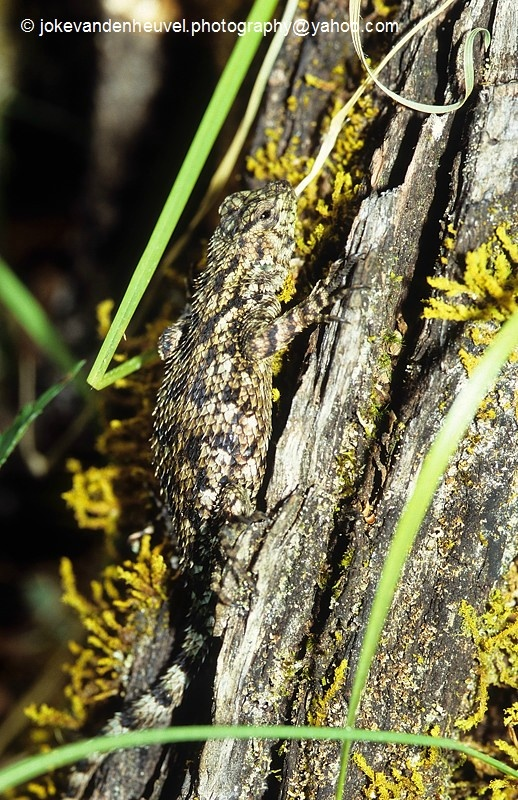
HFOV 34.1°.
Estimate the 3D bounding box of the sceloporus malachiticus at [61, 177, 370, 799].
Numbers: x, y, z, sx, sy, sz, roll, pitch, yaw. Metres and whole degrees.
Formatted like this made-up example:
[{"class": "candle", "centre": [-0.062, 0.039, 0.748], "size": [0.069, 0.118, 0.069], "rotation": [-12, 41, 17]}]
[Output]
[{"class": "sceloporus malachiticus", "centre": [0.000, 0.041, 1.625], "size": [0.206, 1.284, 0.436], "rotation": [14, -5, -40]}]
